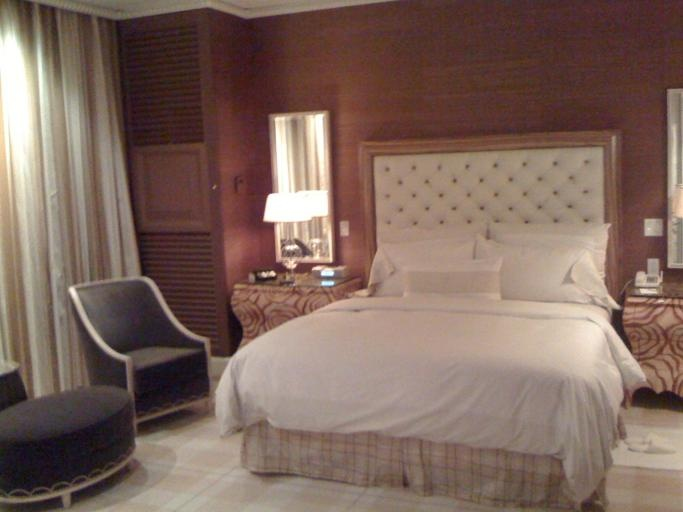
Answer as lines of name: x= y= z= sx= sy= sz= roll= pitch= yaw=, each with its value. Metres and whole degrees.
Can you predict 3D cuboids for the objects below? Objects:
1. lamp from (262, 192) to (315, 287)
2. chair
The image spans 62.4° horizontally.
lamp: x=-0.467 y=-0.168 z=5.071 sx=0.431 sy=0.736 sz=0.416 roll=-2 pitch=9 yaw=0
chair: x=-1.536 y=0.686 z=4.467 sx=1.146 sy=1.341 sz=0.939 roll=-1 pitch=2 yaw=39
